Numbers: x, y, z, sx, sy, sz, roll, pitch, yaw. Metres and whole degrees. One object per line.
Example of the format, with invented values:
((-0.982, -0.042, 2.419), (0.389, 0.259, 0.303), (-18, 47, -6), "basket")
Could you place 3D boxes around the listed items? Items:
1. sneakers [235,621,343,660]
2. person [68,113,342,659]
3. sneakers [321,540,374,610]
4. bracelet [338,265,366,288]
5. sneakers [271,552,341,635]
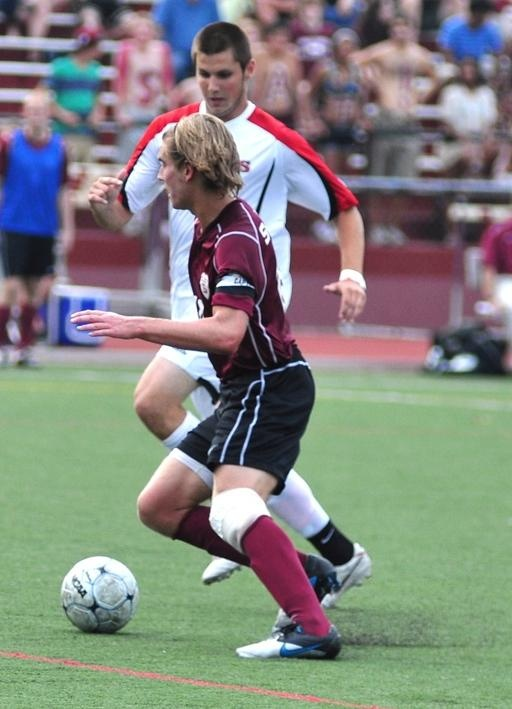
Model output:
((0.107, 0.754, 2.682), (0.327, 0.100, 0.096), (3, -11, -1), "sneakers")
((-0.059, 0.080, 2.741), (0.683, 1.216, 0.817), (4, -1, 6), "person")
((0.308, 0.747, 3.447), (0.146, 0.284, 0.098), (12, 33, -17), "sneakers")
((0.339, -0.267, 3.419), (0.090, 0.058, 0.083), (-1, -3, 3), "bracelet")
((0.175, 0.705, 3.087), (0.180, 0.101, 0.297), (4, -29, 6), "sneakers")
